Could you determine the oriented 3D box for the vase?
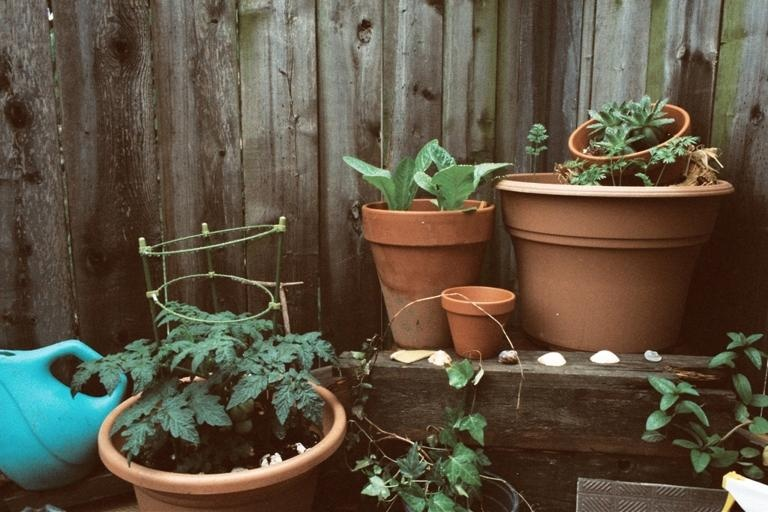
[{"bbox_3d":[0.317,0.216,1.957,0.250,0.194,0.247,0,8,4],"label":"vase"}]

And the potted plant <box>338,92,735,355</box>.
[{"bbox_3d":[0.571,-0.103,2.329,1.206,0.801,0.852,0,4,10],"label":"potted plant"}]
